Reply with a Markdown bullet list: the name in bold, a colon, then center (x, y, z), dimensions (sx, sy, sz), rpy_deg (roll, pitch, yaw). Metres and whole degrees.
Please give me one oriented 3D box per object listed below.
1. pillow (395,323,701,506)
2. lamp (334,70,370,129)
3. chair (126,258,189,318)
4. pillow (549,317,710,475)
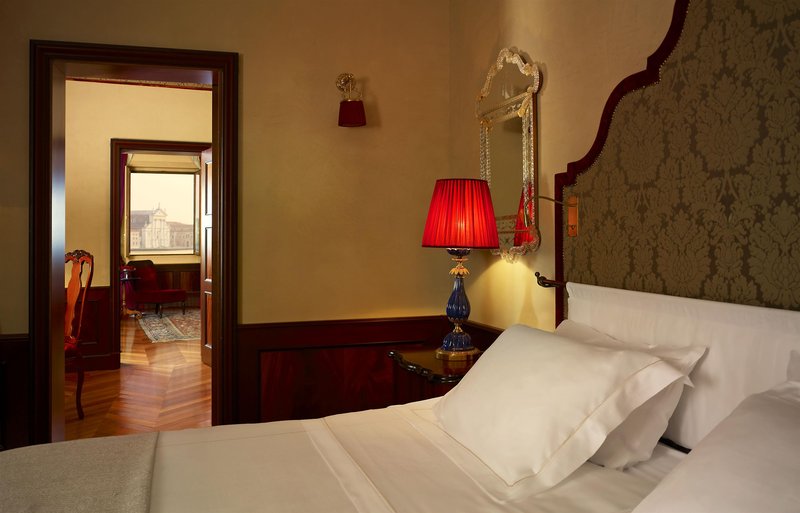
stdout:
- **pillow**: center (0.678, 0.591, 2.343), dimensions (0.693, 0.310, 0.783), rpy_deg (-12, 8, -19)
- **lamp**: center (-0.369, -1.171, 4.161), dimensions (0.232, 0.367, 0.237), rpy_deg (-1, 17, -4)
- **chair**: center (-4.382, 0.537, 10.185), dimensions (0.840, 0.966, 0.748), rpy_deg (-1, 1, 11)
- **pillow**: center (1.014, 0.614, 2.335), dimensions (0.494, 0.520, 0.147), rpy_deg (12, -8, 29)
